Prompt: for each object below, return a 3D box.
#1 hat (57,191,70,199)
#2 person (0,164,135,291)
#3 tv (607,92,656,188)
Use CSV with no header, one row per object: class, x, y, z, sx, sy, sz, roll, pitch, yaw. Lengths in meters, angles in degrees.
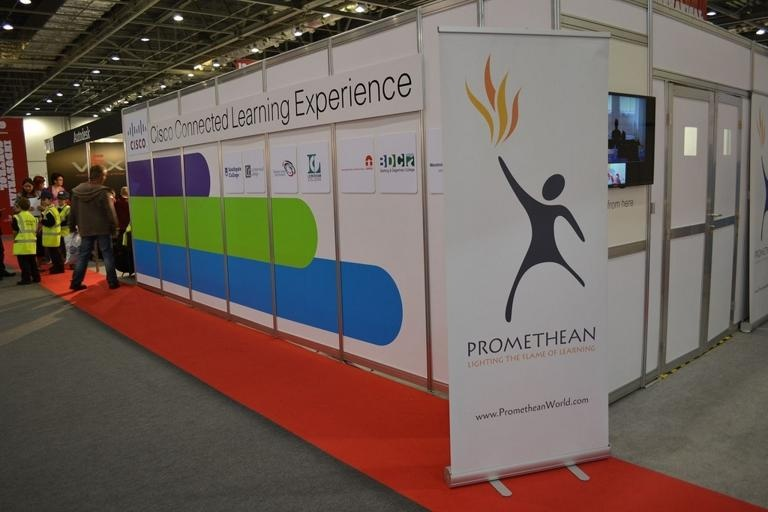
hat,-6.060,-1.122,10.775,0.161,0.137,0.283,9,9,-1
person,-5.499,-0.445,10.083,1.281,3.231,1.160,13,32,-7
tv,2.184,-1.044,5.140,0.766,0.634,0.081,-6,9,-28
